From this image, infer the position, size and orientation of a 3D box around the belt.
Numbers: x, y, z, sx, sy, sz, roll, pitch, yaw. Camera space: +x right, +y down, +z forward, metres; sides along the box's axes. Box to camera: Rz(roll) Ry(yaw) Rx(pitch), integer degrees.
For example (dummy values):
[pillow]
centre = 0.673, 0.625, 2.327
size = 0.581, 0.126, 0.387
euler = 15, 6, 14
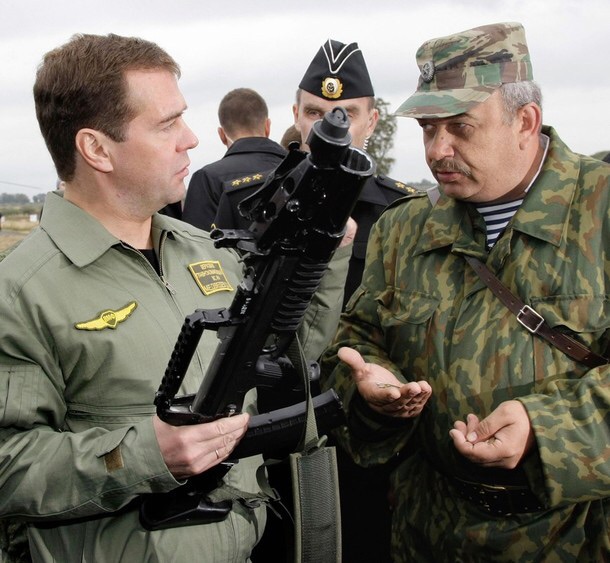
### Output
[belt]
centre = 0.684, 0.863, 2.806
size = 0.180, 0.146, 0.540
euler = -41, 27, -27

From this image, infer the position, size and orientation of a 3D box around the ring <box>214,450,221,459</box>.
[ring]
centre = -0.308, 0.601, 2.282
size = 0.008, 0.023, 0.029
euler = 3, 4, 32
